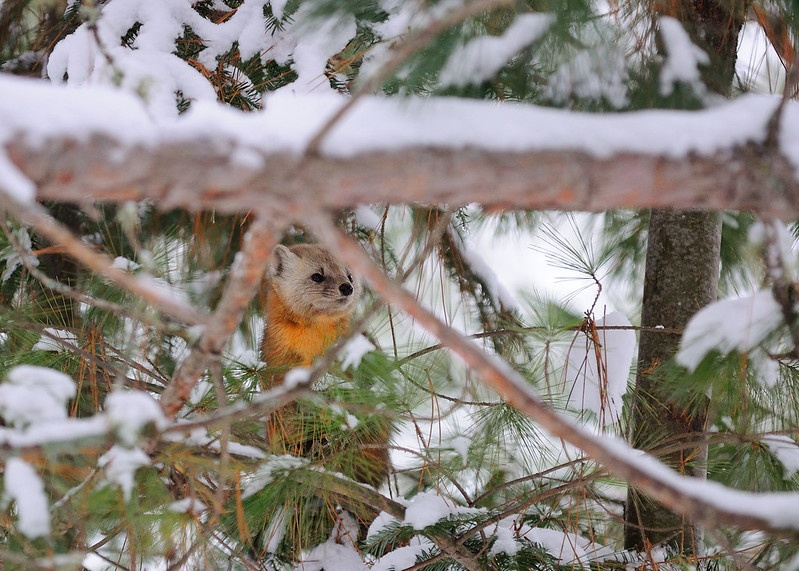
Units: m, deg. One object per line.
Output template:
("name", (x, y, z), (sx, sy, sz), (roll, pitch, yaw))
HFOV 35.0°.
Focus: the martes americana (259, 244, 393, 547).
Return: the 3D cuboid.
("martes americana", (-0.450, 0.675, 7.785), (0.521, 2.015, 1.022), (-1, 41, 0))
